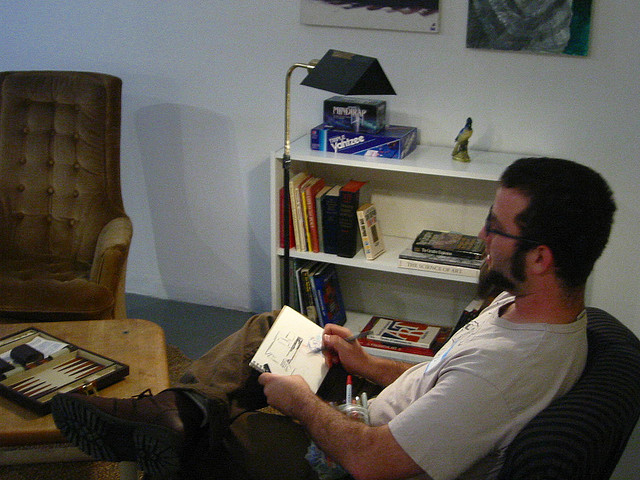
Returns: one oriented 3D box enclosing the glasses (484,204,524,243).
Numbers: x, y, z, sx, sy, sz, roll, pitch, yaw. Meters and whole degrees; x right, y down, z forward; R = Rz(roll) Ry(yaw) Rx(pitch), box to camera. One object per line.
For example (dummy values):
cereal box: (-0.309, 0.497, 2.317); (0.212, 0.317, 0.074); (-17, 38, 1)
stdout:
glasses: (0.471, -0.040, 1.397); (0.085, 0.026, 0.084); (8, 30, -18)

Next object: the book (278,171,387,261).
book: (0.115, -0.131, 2.754); (0.414, 0.565, 0.475); (7, 25, 24)

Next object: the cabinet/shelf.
cabinet/shelf: (0.307, 0.028, 2.275); (0.956, 0.815, 0.325); (5, 15, 20)
